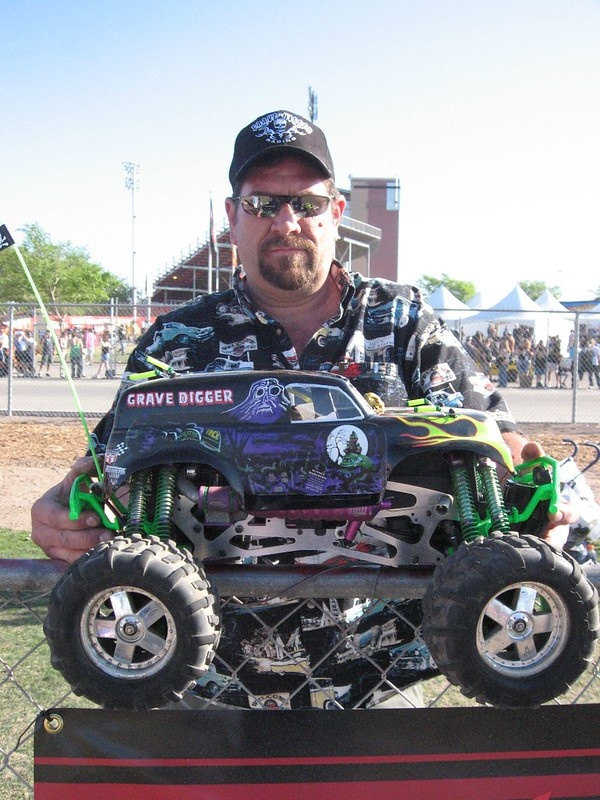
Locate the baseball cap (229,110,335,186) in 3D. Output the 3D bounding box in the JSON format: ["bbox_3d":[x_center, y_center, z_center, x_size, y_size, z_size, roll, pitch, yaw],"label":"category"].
[{"bbox_3d":[-0.048,-0.630,2.039,0.257,0.282,0.145,-2,-6,0],"label":"baseball cap"}]

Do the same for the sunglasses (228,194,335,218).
[{"bbox_3d":[-0.041,-0.500,1.978,0.226,0.064,0.053,0,6,-1],"label":"sunglasses"}]
